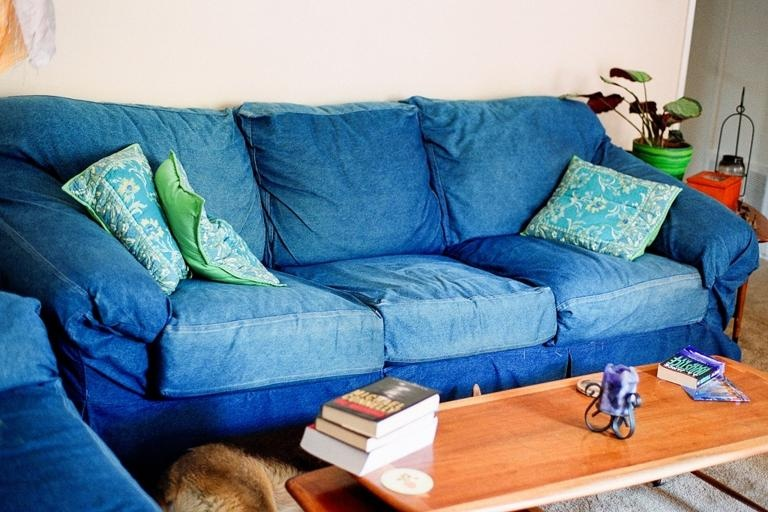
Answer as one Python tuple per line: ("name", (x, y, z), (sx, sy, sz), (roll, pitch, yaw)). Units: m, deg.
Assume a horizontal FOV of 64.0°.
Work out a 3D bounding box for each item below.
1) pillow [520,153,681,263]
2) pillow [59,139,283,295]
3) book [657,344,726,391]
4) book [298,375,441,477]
("pillow", (1.003, -0.246, 2.886), (0.629, 0.437, 0.141), (17, -1, 13))
("pillow", (-0.765, -0.106, 2.211), (0.582, 0.501, 0.331), (-15, 28, -27))
("book", (1.015, 0.362, 2.010), (0.188, 0.030, 0.158), (-15, 26, -8))
("book", (-0.022, 0.429, 1.599), (0.372, 0.145, 0.253), (-12, 18, -41))
